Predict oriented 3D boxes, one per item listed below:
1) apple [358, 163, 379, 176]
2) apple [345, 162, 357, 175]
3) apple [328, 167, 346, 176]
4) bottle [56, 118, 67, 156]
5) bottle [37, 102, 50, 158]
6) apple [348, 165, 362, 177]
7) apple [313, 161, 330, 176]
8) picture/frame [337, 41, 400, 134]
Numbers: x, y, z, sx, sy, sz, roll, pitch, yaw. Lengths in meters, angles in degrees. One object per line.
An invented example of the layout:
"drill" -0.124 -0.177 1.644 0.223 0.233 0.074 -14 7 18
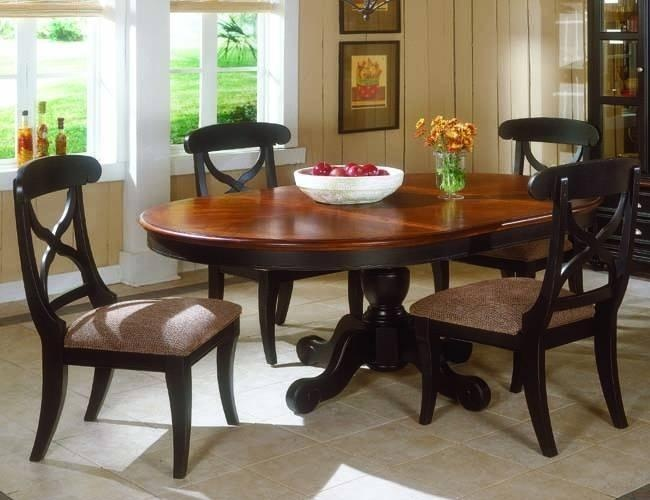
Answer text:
"apple" 0.191 -0.345 2.387 0.067 0.037 0.065 -1 14 -7
"apple" 0.103 -0.346 2.367 0.050 0.027 0.051 -35 29 -29
"apple" 0.054 -0.337 2.363 0.057 0.053 0.056 -28 24 -33
"bottle" -1.750 -0.749 3.614 0.070 0.225 0.217 -6 13 -26
"bottle" -1.864 -0.793 3.602 0.089 0.355 0.271 -6 14 -26
"apple" 0.125 -0.334 2.337 0.058 0.050 0.057 -13 20 -31
"apple" 0.003 -0.355 2.467 0.079 0.073 0.091 -9 11 -24
"picture/frame" 0.348 -1.407 4.704 0.814 0.940 0.036 -6 11 -35
